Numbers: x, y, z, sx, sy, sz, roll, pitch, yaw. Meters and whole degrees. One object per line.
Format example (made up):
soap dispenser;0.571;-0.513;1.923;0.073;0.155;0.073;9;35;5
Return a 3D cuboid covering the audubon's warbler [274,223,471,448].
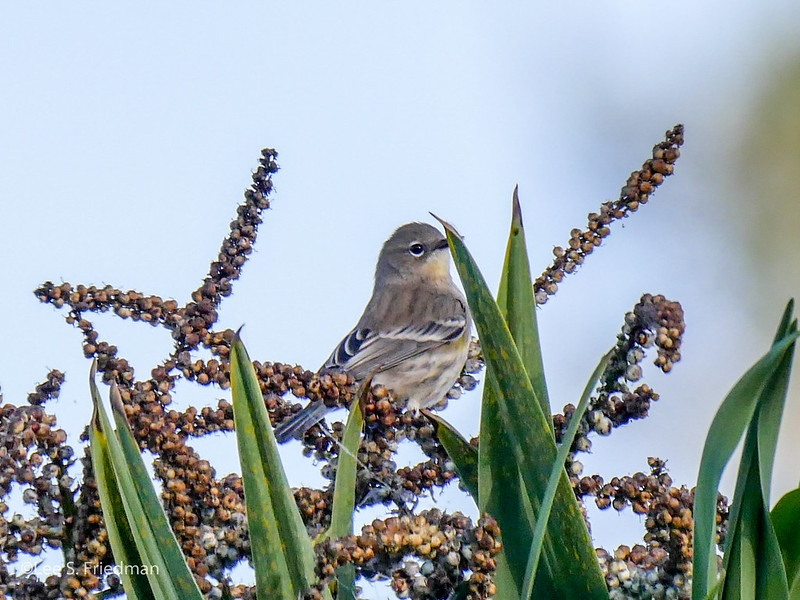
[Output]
audubon's warbler;-0.070;0.069;3.210;0.457;0.430;0.272;-1;-13;-40
